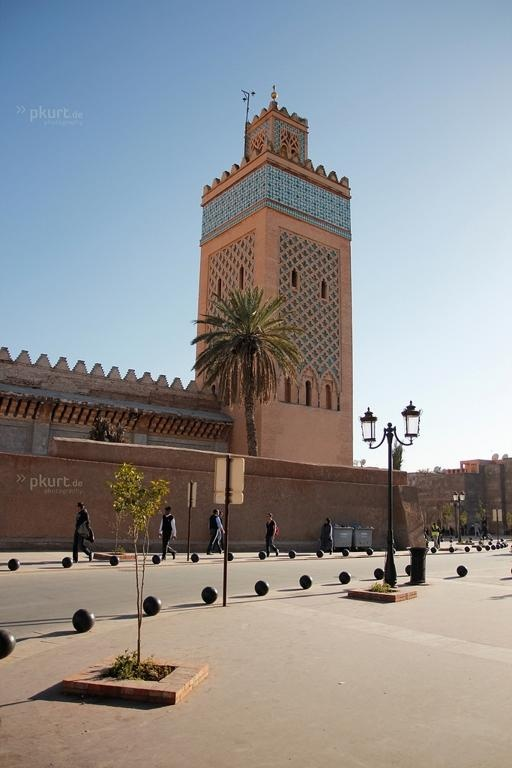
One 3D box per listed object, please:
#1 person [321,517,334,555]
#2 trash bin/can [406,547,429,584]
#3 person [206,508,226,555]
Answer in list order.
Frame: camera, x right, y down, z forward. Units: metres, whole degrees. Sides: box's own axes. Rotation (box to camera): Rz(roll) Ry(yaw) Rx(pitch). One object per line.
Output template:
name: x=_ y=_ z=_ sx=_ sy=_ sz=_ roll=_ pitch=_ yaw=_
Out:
person: x=2.520 y=5.429 z=22.092 sx=0.437 sy=1.250 sz=1.116 roll=-2 pitch=-12 yaw=6
trash bin/can: x=3.196 y=3.614 z=12.242 sx=0.353 sy=0.711 sz=0.967 roll=-3 pitch=-13 yaw=13
person: x=-1.258 y=4.533 z=18.911 sx=0.479 sy=1.345 sz=1.336 roll=0 pitch=-12 yaw=-5
